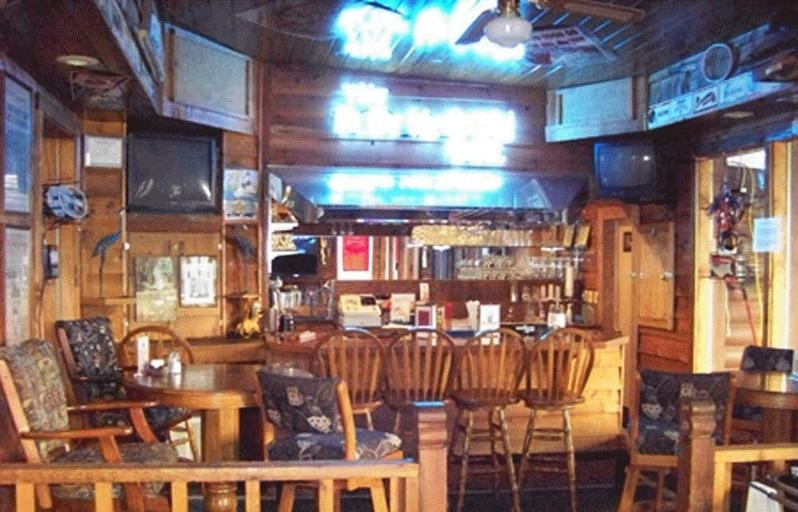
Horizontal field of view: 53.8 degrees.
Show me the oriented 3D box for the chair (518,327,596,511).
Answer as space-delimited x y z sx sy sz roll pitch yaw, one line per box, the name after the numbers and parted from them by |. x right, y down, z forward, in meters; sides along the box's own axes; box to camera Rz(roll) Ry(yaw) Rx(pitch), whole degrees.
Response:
1.595 1.577 8.010 0.701 1.791 1.142 2 0 11 | chair

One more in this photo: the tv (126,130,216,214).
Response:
-2.658 -0.997 9.039 0.999 0.833 0.138 1 4 -6 | tv
